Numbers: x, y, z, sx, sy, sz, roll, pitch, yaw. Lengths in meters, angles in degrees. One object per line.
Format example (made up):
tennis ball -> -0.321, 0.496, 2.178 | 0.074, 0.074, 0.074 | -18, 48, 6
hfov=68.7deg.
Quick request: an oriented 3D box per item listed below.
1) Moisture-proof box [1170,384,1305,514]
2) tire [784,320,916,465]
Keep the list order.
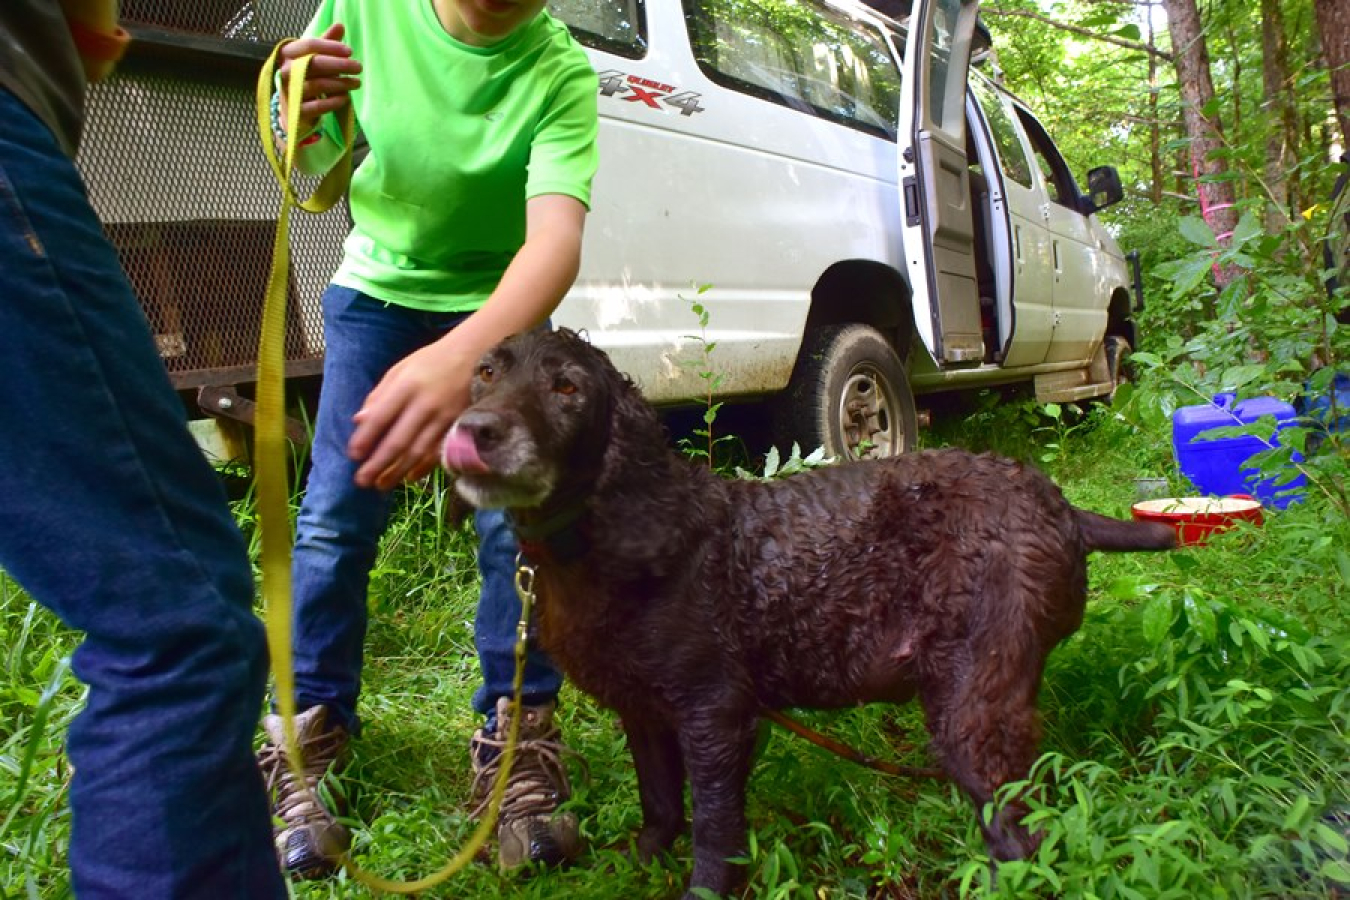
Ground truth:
Moisture-proof box -> 2.925, 0.079, 5.045 | 0.430, 0.668, 0.625 | -2, -4, -21
tire -> 0.906, -0.129, 5.381 | 0.353, 1.032, 1.040 | 2, 13, 38
